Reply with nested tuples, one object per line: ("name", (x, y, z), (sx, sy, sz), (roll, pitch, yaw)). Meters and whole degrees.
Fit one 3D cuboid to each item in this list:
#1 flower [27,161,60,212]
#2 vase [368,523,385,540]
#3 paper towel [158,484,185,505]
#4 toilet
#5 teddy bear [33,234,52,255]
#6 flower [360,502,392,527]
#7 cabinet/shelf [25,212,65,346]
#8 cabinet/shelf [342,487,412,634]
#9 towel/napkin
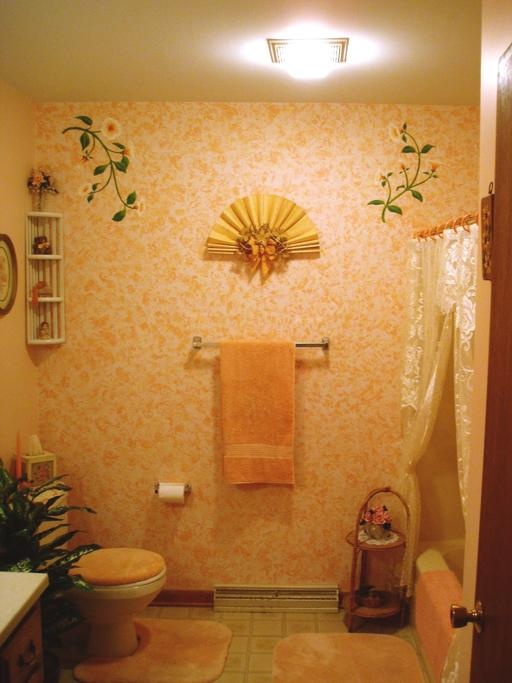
("flower", (-1.005, -0.726, 2.700), (0.136, 0.219, 0.106), (0, 1, -14))
("vase", (0.536, 0.841, 2.556), (0.069, 0.066, 0.059), (0, -9, -22))
("paper towel", (-0.405, 0.717, 2.768), (0.122, 0.099, 0.091), (1, -3, 3))
("toilet", (-0.650, 0.951, 2.342), (0.594, 0.623, 0.393), (9, -4, -39))
("teddy bear", (-1.010, -0.453, 2.689), (0.089, 0.093, 0.087), (-6, 11, -35))
("flower", (0.541, 0.803, 2.633), (0.147, 0.088, 0.138), (0, 0, 30))
("cabinet/shelf", (-0.998, -0.297, 2.710), (0.175, 0.604, 0.134), (0, 1, -19))
("cabinet/shelf", (0.553, 0.972, 2.624), (0.286, 0.623, 0.370), (0, 1, 8))
("towel/napkin", (0.004, 0.322, 2.629), (0.327, 0.639, 0.084), (0, 1, -8))
